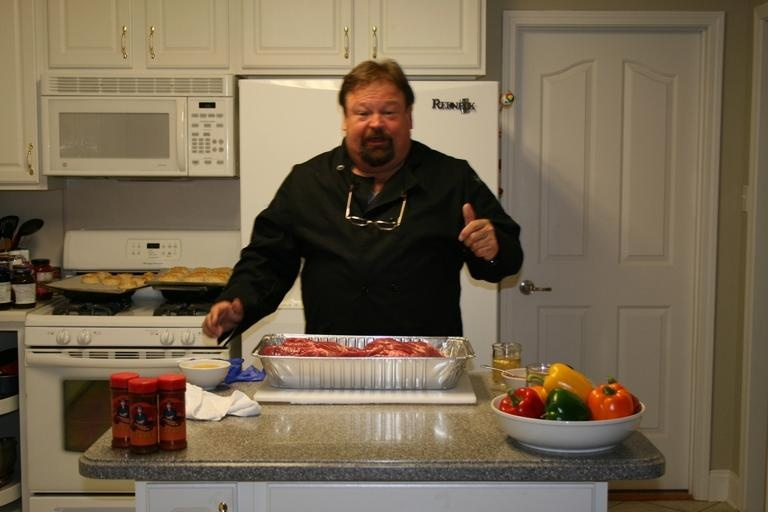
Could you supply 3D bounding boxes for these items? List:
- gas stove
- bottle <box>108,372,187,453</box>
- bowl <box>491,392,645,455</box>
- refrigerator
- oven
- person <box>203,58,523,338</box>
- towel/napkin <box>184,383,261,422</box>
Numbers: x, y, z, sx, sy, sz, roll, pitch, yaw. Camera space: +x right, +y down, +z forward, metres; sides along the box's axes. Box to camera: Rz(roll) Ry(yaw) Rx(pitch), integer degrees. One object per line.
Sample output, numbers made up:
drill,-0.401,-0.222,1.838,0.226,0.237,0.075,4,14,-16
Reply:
gas stove,-1.351,0.381,3.559,0.970,0.209,0.688,0,10,-9
bottle,-0.717,0.473,1.963,0.219,0.228,0.123,-1,4,-18
bowl,0.561,0.522,1.972,0.461,0.146,0.155,2,4,11
refrigerator,-0.157,-0.255,3.725,1.452,1.358,0.903,1,9,-2
oven,-1.438,0.751,3.629,0.767,1.039,0.795,0,-1,-4
person,-0.094,-0.219,2.626,1.120,1.110,0.411,0,4,-13
towel/napkin,-0.542,0.490,2.160,0.238,0.086,0.173,-1,5,-17
